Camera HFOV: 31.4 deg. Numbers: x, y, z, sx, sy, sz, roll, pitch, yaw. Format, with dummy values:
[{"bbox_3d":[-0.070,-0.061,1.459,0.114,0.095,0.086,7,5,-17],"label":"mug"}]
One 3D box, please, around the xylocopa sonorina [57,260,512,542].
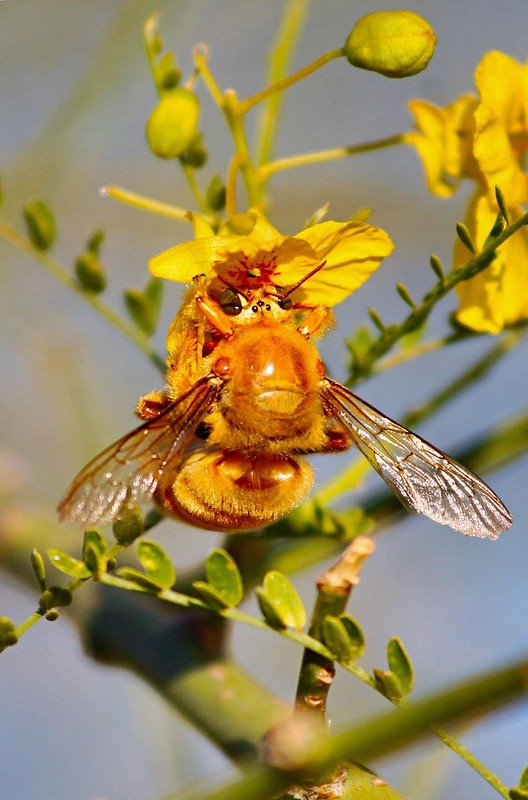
[{"bbox_3d":[-0.004,0.023,1.332,0.617,0.420,0.247,-11,16,-14],"label":"xylocopa sonorina"}]
